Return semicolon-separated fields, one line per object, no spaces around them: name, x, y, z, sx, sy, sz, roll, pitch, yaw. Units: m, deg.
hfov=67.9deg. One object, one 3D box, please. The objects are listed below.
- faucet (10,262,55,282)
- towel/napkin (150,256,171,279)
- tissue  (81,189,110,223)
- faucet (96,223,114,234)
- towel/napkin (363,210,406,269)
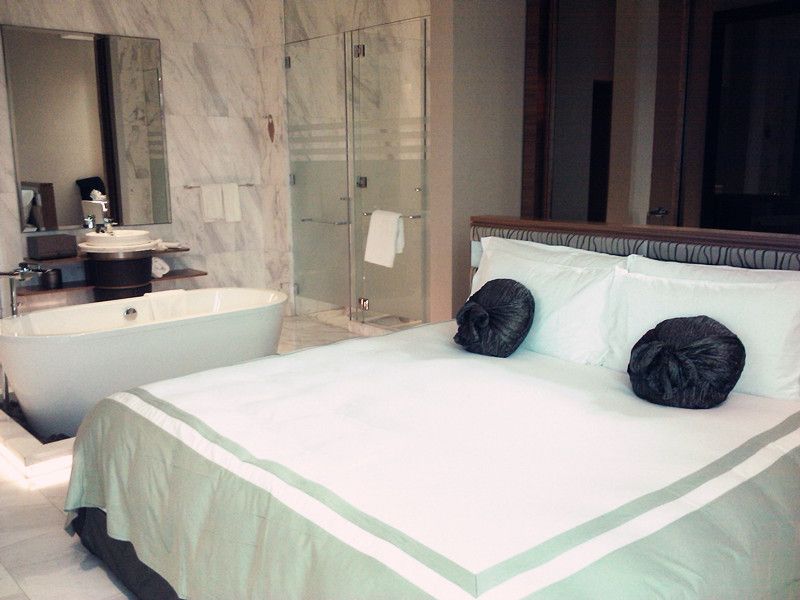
faucet;-2.828;-0.221;4.547;0.170;0.061;0.174;16;22;23
towel/napkin;-2.148;-0.280;5.253;0.059;0.169;0.175;-10;-24;39
tissue ;-2.666;-0.818;5.150;0.142;0.265;0.265;-9;17;-36
faucet;-2.456;-0.592;4.948;0.131;0.094;0.190;0;9;-8
towel/napkin;-0.146;-0.506;4.971;0.346;0.468;0.160;13;10;41
